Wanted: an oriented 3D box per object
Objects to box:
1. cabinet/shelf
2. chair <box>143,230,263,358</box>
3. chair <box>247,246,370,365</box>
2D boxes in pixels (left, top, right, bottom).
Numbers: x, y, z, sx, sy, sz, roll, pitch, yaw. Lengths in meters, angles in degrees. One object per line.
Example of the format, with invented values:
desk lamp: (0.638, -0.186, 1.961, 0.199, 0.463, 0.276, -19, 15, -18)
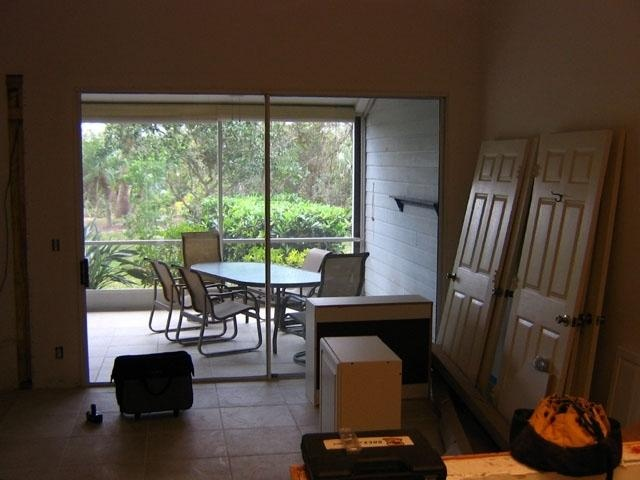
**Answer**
cabinet/shelf: (0.383, 0.975, 4.055, 0.927, 0.855, 0.342, -1, 8, -5)
chair: (-1.294, 0.658, 5.857, 0.516, 0.931, 1.269, -4, 6, -33)
chair: (-0.170, 0.595, 5.648, 0.743, 1.558, 0.959, 5, -12, 29)
